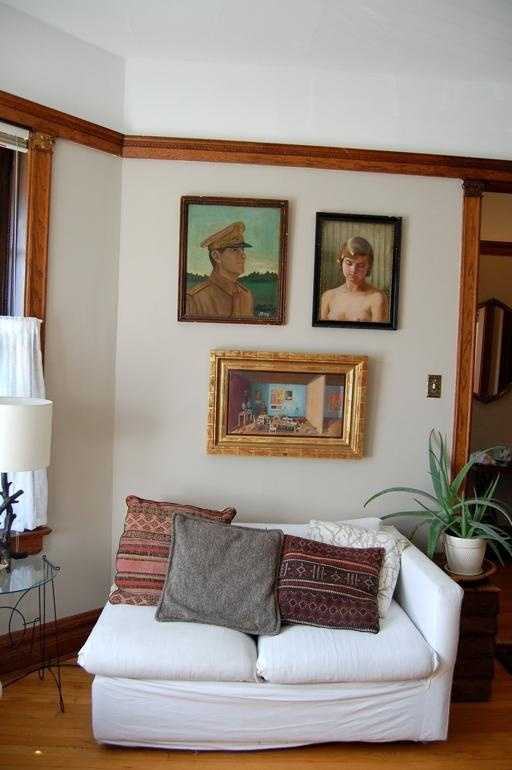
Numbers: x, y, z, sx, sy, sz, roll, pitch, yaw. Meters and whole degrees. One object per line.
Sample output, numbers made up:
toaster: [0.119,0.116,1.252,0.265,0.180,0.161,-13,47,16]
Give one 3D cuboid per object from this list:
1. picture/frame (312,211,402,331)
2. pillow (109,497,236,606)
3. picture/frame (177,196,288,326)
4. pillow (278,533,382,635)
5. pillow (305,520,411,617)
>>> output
picture/frame: [0.491,-0.591,3.103,0.563,0.763,0.057,2,5,-5]
pillow: [-0.462,0.695,2.580,0.425,0.411,0.129,5,-15,-6]
picture/frame: [-0.132,-0.639,3.046,0.584,0.701,0.049,2,-1,-8]
pillow: [0.314,0.814,2.498,0.325,0.100,0.314,7,45,2]
pillow: [0.473,0.768,2.697,0.356,0.351,0.111,2,4,-7]
